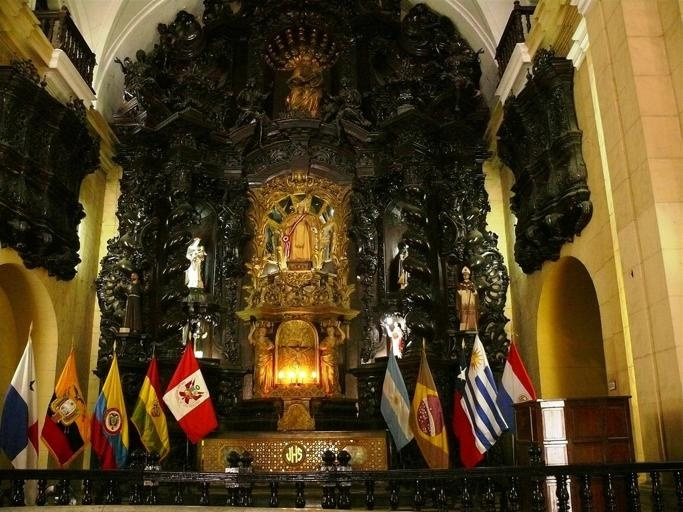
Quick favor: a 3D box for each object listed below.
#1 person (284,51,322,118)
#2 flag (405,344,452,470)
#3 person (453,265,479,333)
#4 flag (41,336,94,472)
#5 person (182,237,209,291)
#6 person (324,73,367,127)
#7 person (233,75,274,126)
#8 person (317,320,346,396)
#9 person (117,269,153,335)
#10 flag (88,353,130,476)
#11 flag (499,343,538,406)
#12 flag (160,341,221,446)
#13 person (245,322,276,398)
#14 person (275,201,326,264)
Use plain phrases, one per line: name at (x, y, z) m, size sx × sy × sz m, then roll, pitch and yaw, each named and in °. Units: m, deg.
person at (-0.768, -3.579, 14.213) m, size 0.759 × 2.070 × 0.649 m, roll -1°, pitch -21°, yaw -1°
flag at (1.262, 2.233, 9.918) m, size 0.494 × 1.710 × 0.445 m, roll -4°, pitch -21°, yaw 6°
person at (2.274, 0.801, 12.222) m, size 0.386 × 1.334 × 0.462 m, roll -5°, pitch -22°, yaw 10°
flag at (-3.881, 2.165, 9.675) m, size 0.640 × 1.561 × 0.416 m, roll 11°, pitch -24°, yaw -28°
person at (-2.831, 0.147, 13.216) m, size 0.386 × 1.090 × 0.192 m, roll 5°, pitch -22°, yaw -16°
person at (0.109, -3.147, 13.846) m, size 1.176 × 1.290 × 0.359 m, roll -3°, pitch -22°, yaw 12°
person at (-1.834, -3.192, 14.047) m, size 0.697 × 1.396 × 0.599 m, roll 3°, pitch -22°, yaw -10°
person at (-0.181, 1.917, 12.580) m, size 0.447 × 1.374 × 0.292 m, roll 1°, pitch -21°, yaw -5°
person at (-3.772, 0.862, 12.273) m, size 0.510 × 1.199 × 0.319 m, roll 6°, pitch -23°, yaw -18°
flag at (-3.614, 2.479, 10.485) m, size 0.503 × 1.566 × 0.636 m, roll -5°, pitch -22°, yaw 9°
flag at (2.554, 1.712, 9.938) m, size 0.507 × 0.888 × 0.385 m, roll -12°, pitch -24°, yaw 26°
flag at (-2.214, 1.987, 9.979) m, size 0.763 × 1.425 × 0.395 m, roll 4°, pitch -22°, yaw -14°
person at (-1.493, 1.912, 12.596) m, size 0.491 × 1.414 × 0.307 m, roll -3°, pitch -21°, yaw 4°
person at (-0.805, -0.455, 13.455) m, size 0.874 × 1.544 × 0.292 m, roll 0°, pitch -21°, yaw -4°
